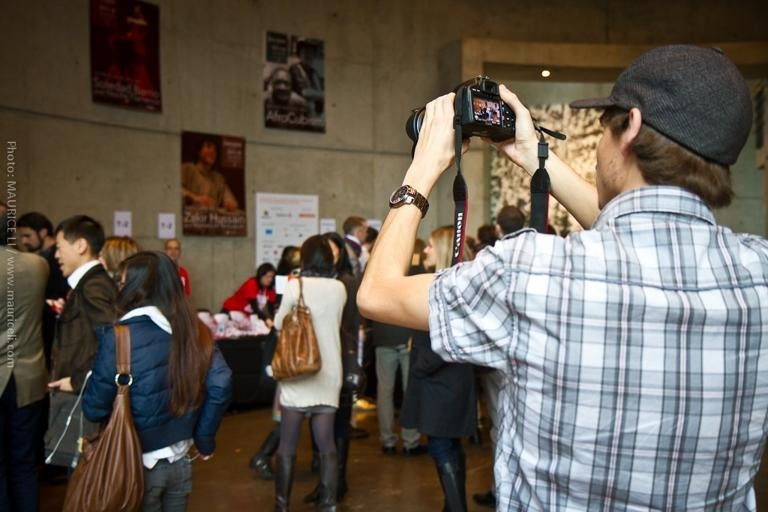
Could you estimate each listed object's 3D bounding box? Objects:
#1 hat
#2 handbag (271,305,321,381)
[{"bbox_3d":[1.102,-0.635,2.932,0.691,0.401,0.520,20,20,21],"label":"hat"},{"bbox_3d":[-0.578,0.590,5.017,0.458,0.558,0.243,-5,-8,37],"label":"handbag"}]
